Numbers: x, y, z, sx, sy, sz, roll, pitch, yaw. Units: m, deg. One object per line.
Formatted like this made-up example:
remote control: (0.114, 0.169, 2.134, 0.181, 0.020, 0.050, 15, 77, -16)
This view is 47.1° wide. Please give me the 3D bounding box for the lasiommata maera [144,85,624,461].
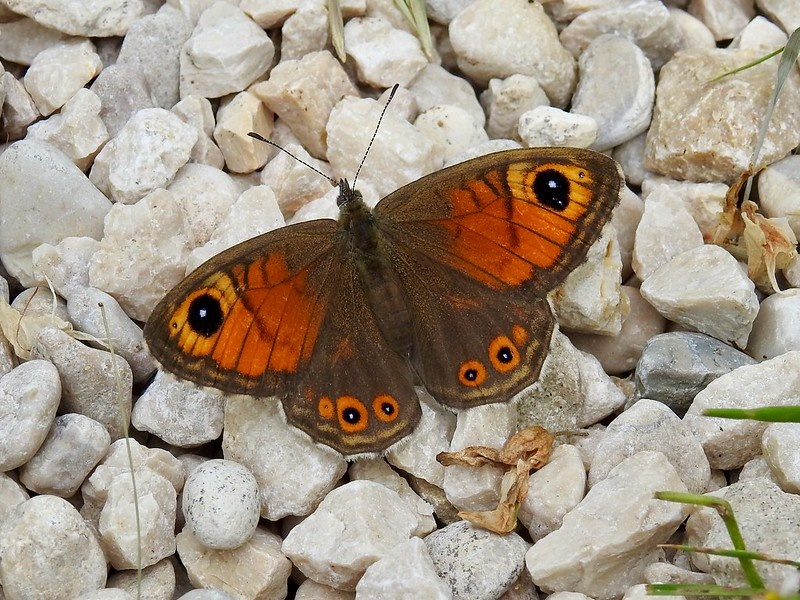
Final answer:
lasiommata maera: (-0.085, -0.147, 4.032, 2.150, 0.228, 1.647, -15, 61, -2)
